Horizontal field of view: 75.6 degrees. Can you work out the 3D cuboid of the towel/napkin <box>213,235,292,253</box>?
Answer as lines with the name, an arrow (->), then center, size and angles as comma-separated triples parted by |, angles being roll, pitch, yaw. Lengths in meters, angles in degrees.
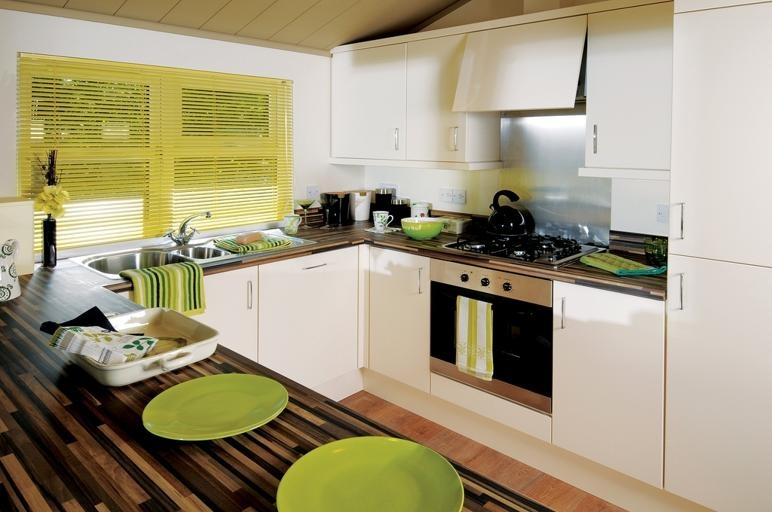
towel/napkin -> -0.910, -0.087, 3.480 | 0.506, 0.067, 0.397 | -8, 14, -28

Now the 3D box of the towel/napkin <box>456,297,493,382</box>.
towel/napkin -> 0.555, 0.529, 3.210 | 0.335, 0.501, 0.053 | 23, -29, -36

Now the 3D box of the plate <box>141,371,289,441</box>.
plate -> -0.540, 0.471, 1.565 | 0.413, 0.039, 0.409 | 3, 13, 12

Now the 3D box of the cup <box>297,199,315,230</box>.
cup -> -0.667, -0.357, 4.066 | 0.224, 0.218, 0.208 | 0, 1, 0

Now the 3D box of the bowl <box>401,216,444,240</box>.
bowl -> 0.287, -0.202, 3.639 | 0.226, 0.089, 0.216 | 0, 6, 0

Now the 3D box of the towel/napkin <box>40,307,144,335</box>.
towel/napkin -> -1.136, 0.242, 1.825 | 0.190, 0.056, 0.181 | 4, 5, 13

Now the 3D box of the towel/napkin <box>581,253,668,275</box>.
towel/napkin -> 1.368, 0.049, 2.875 | 0.345, 0.062, 0.430 | -12, 16, -38

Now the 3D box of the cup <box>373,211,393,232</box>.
cup -> -0.023, -0.293, 4.003 | 0.140, 0.157, 0.290 | -2, 13, 1

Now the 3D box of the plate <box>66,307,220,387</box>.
plate -> -0.827, 0.271, 1.741 | 0.314, 0.074, 0.353 | 14, 17, 41

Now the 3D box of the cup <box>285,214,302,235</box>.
cup -> -0.724, -0.243, 3.860 | 0.167, 0.134, 0.129 | -3, 7, -8

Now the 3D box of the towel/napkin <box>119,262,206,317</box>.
towel/napkin -> -1.312, 0.218, 2.906 | 0.237, 0.304, 0.480 | 10, 11, 26

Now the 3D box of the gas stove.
gas stove -> 0.903, -0.085, 3.313 | 0.825, 0.103, 0.700 | 9, 16, 39

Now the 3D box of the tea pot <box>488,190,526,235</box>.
tea pot -> 0.874, -0.318, 3.516 | 0.262, 0.288, 0.369 | 2, 13, 17

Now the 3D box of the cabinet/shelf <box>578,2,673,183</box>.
cabinet/shelf -> 1.373, -0.940, 2.809 | 0.480, 0.881, 0.202 | 5, 15, 27

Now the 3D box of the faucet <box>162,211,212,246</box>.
faucet -> -1.388, -0.167, 3.420 | 0.352, 0.229, 0.270 | -5, 4, 35

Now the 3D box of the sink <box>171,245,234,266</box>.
sink -> -1.231, -0.010, 3.385 | 0.346, 0.123, 0.201 | 9, 13, 41

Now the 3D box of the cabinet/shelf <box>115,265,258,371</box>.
cabinet/shelf -> -1.386, 0.323, 3.505 | 0.657, 0.959, 0.583 | -13, 16, -42

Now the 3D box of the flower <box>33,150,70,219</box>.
flower -> -2.009, -0.416, 2.947 | 0.162, 0.429, 0.288 | -10, 15, -30
